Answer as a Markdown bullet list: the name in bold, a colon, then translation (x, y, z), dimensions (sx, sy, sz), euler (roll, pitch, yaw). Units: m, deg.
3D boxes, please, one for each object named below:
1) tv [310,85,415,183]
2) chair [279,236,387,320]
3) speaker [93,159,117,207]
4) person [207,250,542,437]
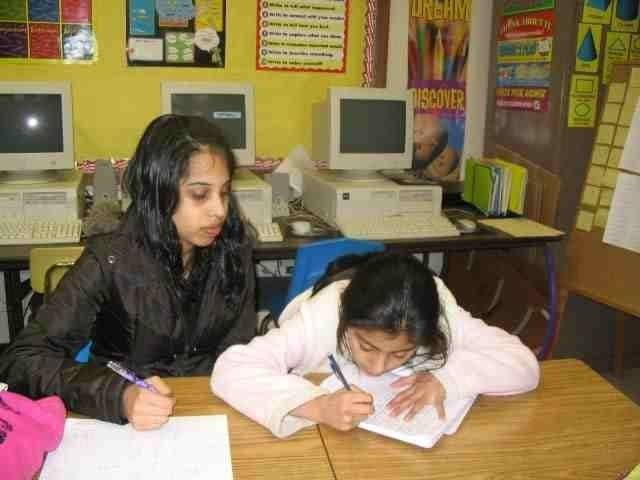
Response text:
- **tv**: translation (0.260, -0.603, 3.169), dimensions (0.488, 0.442, 0.506), euler (0, 3, -10)
- **chair**: translation (0.050, 0.114, 2.170), dimensions (0.277, 0.486, 0.315), euler (5, 19, -7)
- **speaker**: translation (-1.163, -0.306, 2.841), dimensions (0.117, 0.246, 0.062), euler (-2, 14, -15)
- **person**: translation (0.161, 0.347, 1.446), dimensions (0.815, 0.322, 0.470), euler (-12, 28, 6)
